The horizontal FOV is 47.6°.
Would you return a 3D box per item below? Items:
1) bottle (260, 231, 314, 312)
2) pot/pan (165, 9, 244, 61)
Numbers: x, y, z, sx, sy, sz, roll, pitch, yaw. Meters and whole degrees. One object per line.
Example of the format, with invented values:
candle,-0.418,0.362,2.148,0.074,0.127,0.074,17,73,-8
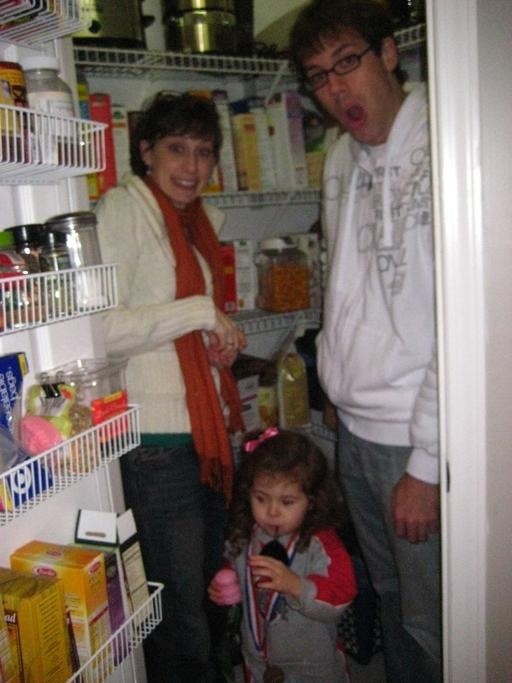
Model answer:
bottle,0.039,-0.233,1.935,0.219,0.273,0.213,-6,3,0
pot/pan,-0.132,-0.790,1.494,0.217,0.115,0.048,-15,31,-29
